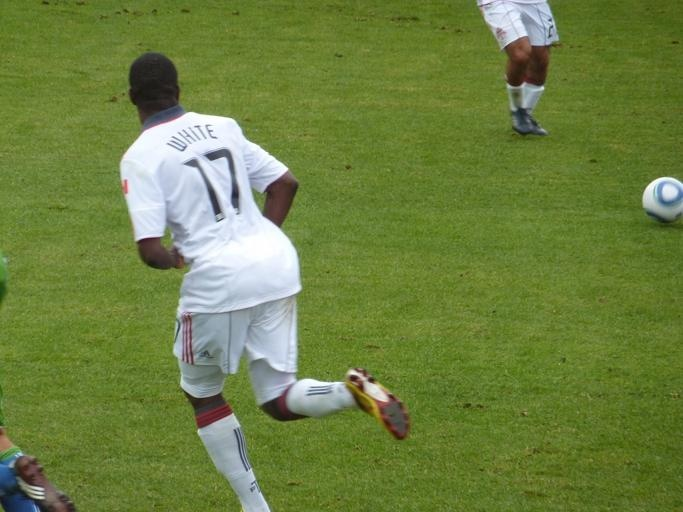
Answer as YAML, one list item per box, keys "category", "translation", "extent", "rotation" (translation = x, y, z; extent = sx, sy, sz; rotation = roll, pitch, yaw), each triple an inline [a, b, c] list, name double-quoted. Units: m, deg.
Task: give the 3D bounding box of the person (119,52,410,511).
- category: "person"
  translation: [-0.604, 0.183, 8.085]
  extent: [1.361, 2.841, 0.766]
  rotation: [-3, 12, -4]
